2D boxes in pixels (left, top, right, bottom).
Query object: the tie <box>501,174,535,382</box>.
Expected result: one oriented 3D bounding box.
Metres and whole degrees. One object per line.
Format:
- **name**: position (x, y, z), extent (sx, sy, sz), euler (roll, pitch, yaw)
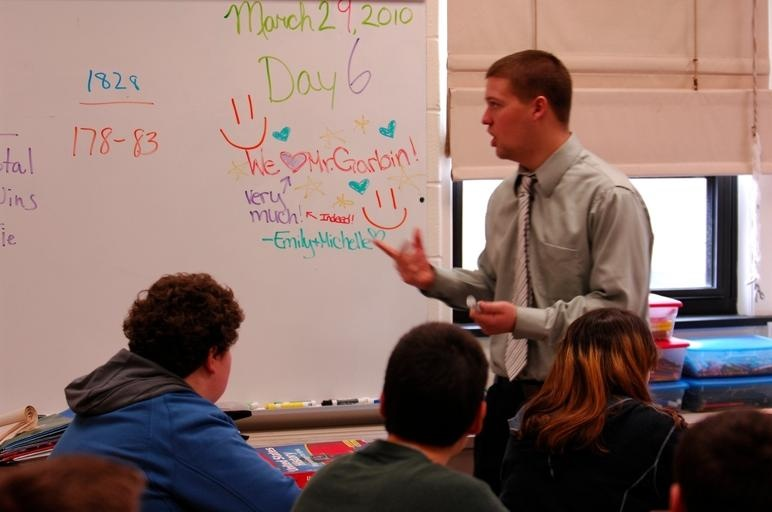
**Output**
- **tie**: position (0.491, 0.057, 2.301), extent (0.090, 0.776, 0.095), euler (15, -15, -31)
